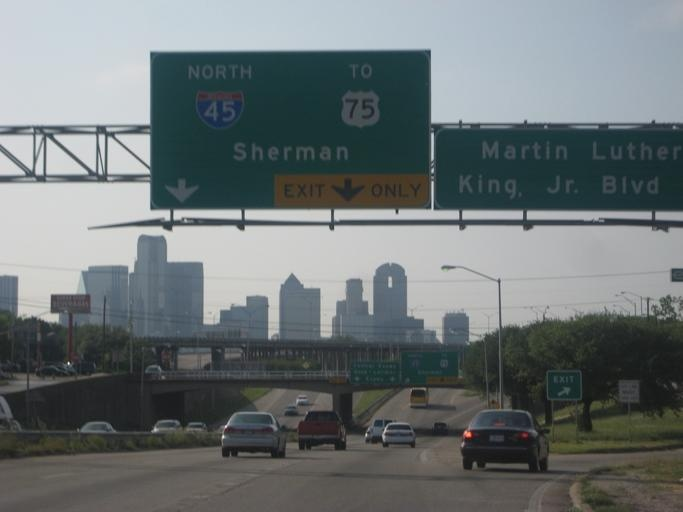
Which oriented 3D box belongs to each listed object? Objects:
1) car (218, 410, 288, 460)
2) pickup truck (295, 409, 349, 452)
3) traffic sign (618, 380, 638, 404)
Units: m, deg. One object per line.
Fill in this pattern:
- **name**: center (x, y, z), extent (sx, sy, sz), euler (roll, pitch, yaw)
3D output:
- **car**: center (-4.729, 9.763, 82.892), extent (2.531, 2.927, 6.010), euler (1, -9, 2)
- **pickup truck**: center (-1.153, 10.666, 93.070), extent (1.995, 2.584, 3.630), euler (-7, -12, 36)
- **traffic sign**: center (18.124, 8.549, 95.432), extent (1.519, 2.139, 0.244), euler (3, -1, 16)
